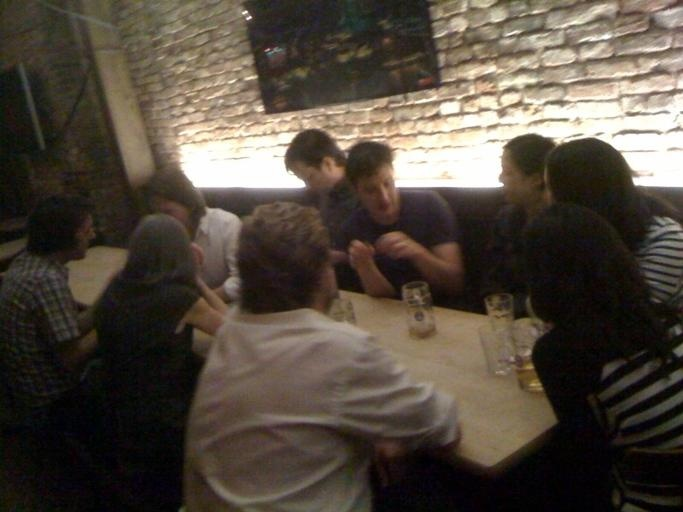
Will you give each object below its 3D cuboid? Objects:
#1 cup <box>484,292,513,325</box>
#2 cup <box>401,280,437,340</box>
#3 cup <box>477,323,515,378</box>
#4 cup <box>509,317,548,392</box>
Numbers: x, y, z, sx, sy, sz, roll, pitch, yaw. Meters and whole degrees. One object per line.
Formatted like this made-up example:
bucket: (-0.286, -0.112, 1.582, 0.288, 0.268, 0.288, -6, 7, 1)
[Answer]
cup: (0.335, 0.117, 1.156, 0.061, 0.068, 0.068, -7, 5, 0)
cup: (0.189, 0.138, 1.265, 0.100, 0.121, 0.098, -9, 0, 0)
cup: (0.312, 0.180, 1.036, 0.064, 0.089, 0.060, -11, 16, 3)
cup: (0.379, 0.189, 0.989, 0.089, 0.128, 0.086, 4, -12, 1)
